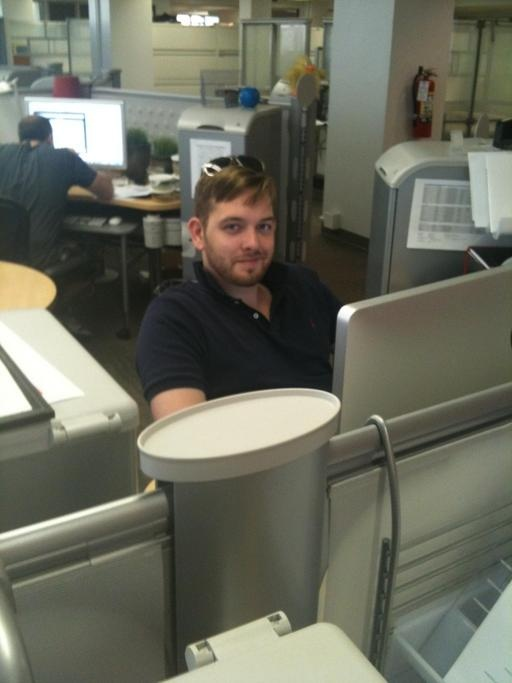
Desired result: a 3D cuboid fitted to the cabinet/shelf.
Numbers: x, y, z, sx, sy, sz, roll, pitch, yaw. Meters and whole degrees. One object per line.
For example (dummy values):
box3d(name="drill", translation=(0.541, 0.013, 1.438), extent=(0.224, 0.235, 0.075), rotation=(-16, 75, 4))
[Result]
box3d(name="cabinet/shelf", translation=(-0.972, -4.217, 8.759), extent=(1.359, 0.639, 0.359), rotation=(-10, 22, -24))

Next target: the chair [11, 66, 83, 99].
box3d(name="chair", translation=(-1.314, -1.611, 3.516), extent=(0.147, 0.156, 0.458), rotation=(12, 24, 29))

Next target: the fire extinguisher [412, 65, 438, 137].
box3d(name="fire extinguisher", translation=(1.432, -1.992, 4.733), extent=(0.340, 0.554, 0.178), rotation=(-19, 27, -42))
